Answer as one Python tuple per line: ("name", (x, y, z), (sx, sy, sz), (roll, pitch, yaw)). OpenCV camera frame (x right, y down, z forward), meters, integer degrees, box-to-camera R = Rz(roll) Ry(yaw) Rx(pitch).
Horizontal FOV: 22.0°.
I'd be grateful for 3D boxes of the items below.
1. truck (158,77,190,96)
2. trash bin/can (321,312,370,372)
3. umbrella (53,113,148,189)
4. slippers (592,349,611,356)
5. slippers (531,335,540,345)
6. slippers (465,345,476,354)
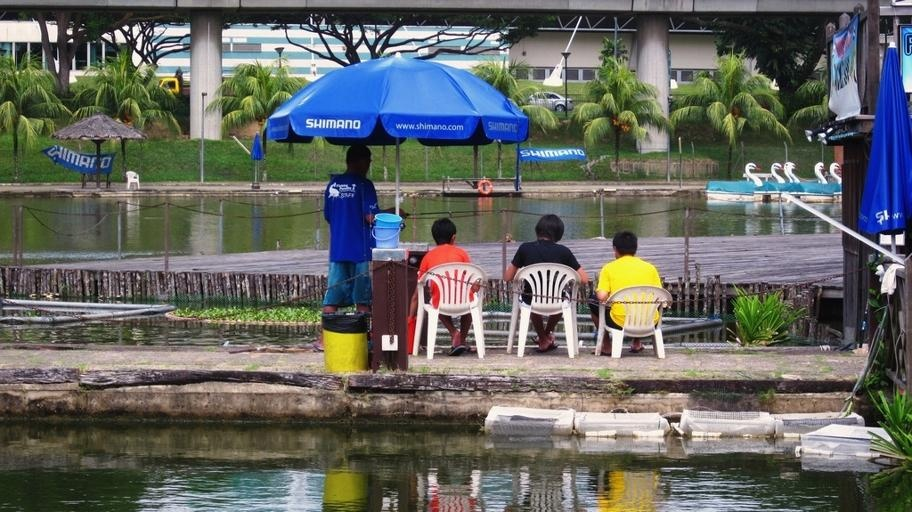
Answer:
("truck", (-20.461, -12.346, 170.064), (2.687, 1.327, 1.607), (1, 6, -5))
("trash bin/can", (-5.221, 3.863, 110.101), (1.869, 2.816, 1.840), (0, 0, -3))
("umbrella", (-21.964, -7.786, 144.049), (4.933, 3.773, 4.849), (1, 0, -25))
("slippers", (6.803, 4.406, 110.322), (0.910, 0.344, 0.313), (9, 7, 26))
("slippers", (3.666, 3.898, 112.629), (0.393, 0.388, 0.393), (14, -24, 37))
("slippers", (0.585, 4.220, 110.455), (0.384, 0.233, 0.610), (1, 0, -3))
